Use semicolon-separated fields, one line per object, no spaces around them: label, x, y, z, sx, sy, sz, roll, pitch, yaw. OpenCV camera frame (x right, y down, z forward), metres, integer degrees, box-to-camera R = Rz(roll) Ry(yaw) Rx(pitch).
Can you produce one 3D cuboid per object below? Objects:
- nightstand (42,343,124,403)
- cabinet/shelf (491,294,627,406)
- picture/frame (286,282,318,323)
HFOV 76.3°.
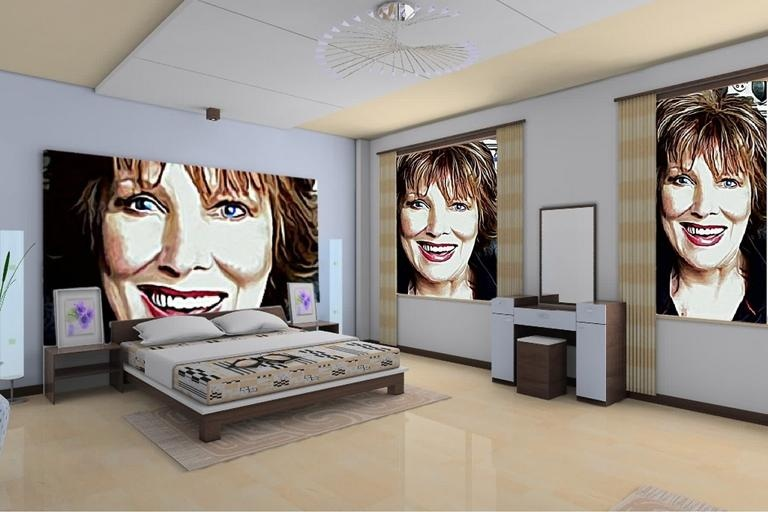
nightstand;-3.542;1.264;5.753;1.070;0.705;0.565;-1;1;-41
cabinet/shelf;2.191;1.084;6.127;0.762;1.070;1.505;1;-2;-40
picture/frame;-1.262;0.696;7.375;0.598;0.710;0.059;3;-9;-43
